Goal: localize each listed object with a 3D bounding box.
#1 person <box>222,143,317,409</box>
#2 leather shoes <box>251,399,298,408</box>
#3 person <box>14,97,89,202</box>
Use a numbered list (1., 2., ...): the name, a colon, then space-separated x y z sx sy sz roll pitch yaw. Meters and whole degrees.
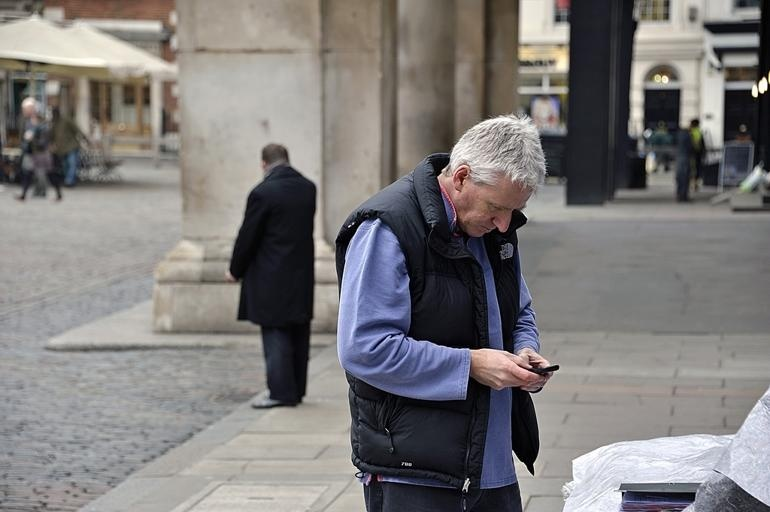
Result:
1. person: -0.823 0.154 10.140 0.631 1.981 0.293 0 7 -3
2. leather shoes: -0.812 1.117 10.197 0.321 0.090 0.119 5 -6 3
3. person: -2.102 -0.704 8.614 0.569 0.862 0.310 0 23 -7
